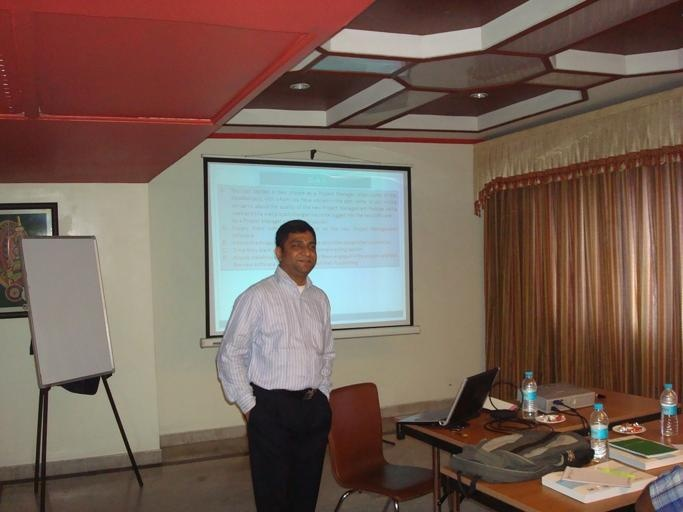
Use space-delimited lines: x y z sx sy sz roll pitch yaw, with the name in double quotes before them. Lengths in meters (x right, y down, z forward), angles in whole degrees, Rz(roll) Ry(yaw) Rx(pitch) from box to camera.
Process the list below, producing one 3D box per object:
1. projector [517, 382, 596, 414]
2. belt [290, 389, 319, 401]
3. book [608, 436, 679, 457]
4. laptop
"projector" 1.502 0.977 4.001 0.429 0.162 0.463 3 2 -23
"belt" -0.214 0.846 3.394 0.190 0.068 0.042 -3 3 -36
"book" 1.651 1.029 3.046 0.228 0.036 0.307 1 -3 -34
"laptop" 0.715 0.878 3.675 0.579 0.398 0.502 7 1 29
